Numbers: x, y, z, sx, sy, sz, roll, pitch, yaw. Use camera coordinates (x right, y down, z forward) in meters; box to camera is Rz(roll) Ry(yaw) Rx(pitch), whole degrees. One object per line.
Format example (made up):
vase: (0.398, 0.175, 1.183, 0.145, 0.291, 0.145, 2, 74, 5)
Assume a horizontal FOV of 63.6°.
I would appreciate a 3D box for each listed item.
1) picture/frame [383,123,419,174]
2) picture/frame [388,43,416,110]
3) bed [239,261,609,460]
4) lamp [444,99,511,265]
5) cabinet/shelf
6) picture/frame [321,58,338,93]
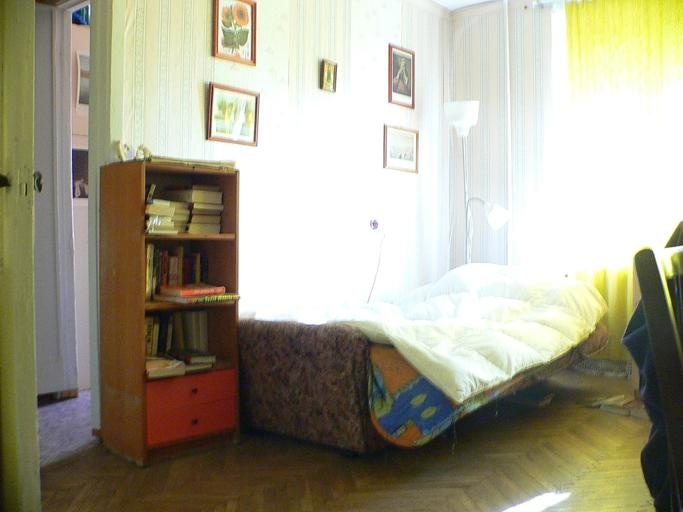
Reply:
picture/frame: (0.486, -0.903, 4.651, 0.016, 0.374, 0.382, 4, 6, 41)
picture/frame: (0.501, -1.498, 4.636, 0.327, 0.480, 0.031, -4, 6, -43)
bed: (0.493, 0.556, 3.183, 1.981, 0.765, 1.277, -4, 6, -37)
lamp: (1.162, -0.635, 4.729, 0.513, 1.451, 0.701, 1, 4, 16)
cabinet/shelf: (-0.933, 0.246, 2.953, 0.744, 1.494, 0.522, -3, 5, -29)
picture/frame: (-0.104, -1.325, 4.095, 0.035, 0.227, 0.156, 3, 6, 43)
